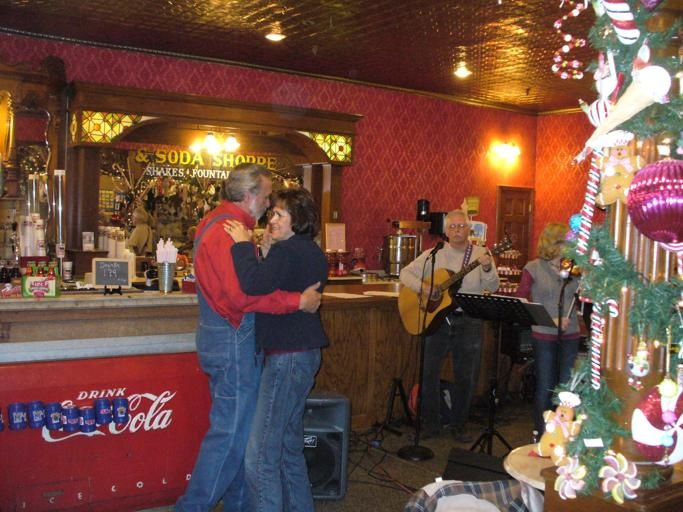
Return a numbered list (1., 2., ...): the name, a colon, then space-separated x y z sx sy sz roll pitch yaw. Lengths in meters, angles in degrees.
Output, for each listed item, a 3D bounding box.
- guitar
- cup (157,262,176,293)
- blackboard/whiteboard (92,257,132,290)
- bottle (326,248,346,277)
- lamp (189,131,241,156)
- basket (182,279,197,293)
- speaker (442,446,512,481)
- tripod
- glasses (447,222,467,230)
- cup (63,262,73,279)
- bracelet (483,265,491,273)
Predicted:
1. guitar: 0.797 0.263 4.603 0.151 0.500 1.072 10 -43 -45
2. cup: -1.130 0.140 3.887 0.118 0.195 0.130 0 1 -33
3. blackboard/whiteboard: -1.423 0.113 3.716 0.195 0.168 0.022 0 -3 -18
4. bottle: -0.064 0.086 7.767 0.301 0.384 0.305 0 -4 0
5. lamp: -1.630 -1.434 7.729 0.361 0.150 0.360 -2 2 -36
6. basket: -0.976 0.198 3.848 0.060 0.075 0.109 3 -1 -41
7. speaker: 0.690 1.083 3.082 0.238 0.064 0.219 1 43 25
8. tripod: 1.172 0.980 4.688 0.305 1.034 1.421 1 1 16
9. glasses: 0.911 -0.228 4.719 0.150 0.048 0.042 1 1 10
10. cup: -2.075 0.117 4.540 0.053 0.136 0.110 -1 1 -36
11. bracelet: 1.087 0.095 4.494 0.063 0.065 0.144 1 1 14
